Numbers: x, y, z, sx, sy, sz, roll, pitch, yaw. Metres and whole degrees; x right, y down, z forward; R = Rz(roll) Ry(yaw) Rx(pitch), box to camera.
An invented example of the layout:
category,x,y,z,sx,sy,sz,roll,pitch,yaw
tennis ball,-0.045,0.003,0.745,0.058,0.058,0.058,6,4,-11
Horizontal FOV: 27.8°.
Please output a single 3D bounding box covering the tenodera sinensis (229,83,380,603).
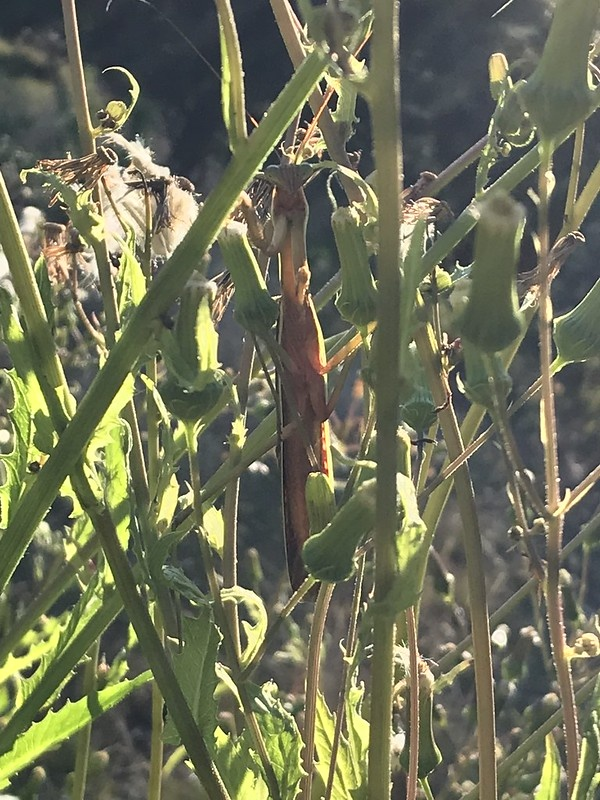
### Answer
category,x,y,z,sx,sy,sz,roll,pitch,yaw
tenodera sinensis,-0.003,-0.027,0.691,0.071,0.233,0.094,-1,11,-6
